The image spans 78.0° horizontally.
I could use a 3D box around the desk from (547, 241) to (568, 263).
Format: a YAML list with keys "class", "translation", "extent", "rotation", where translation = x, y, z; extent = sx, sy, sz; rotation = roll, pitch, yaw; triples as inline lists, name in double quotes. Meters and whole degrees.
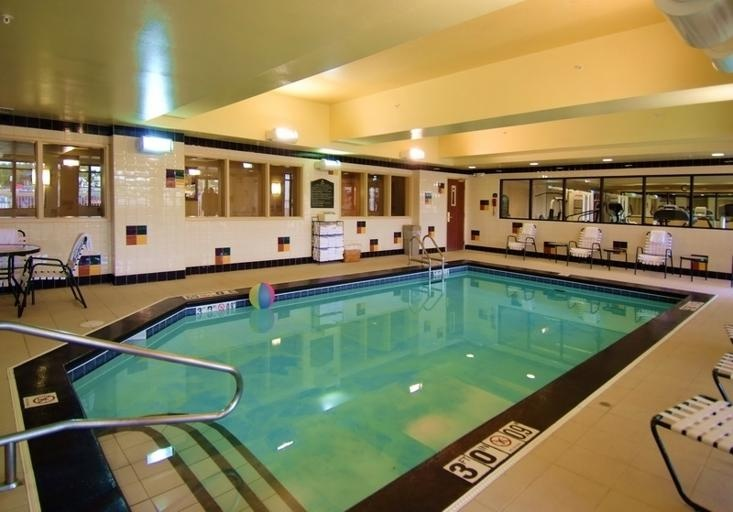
- class: "desk"
  translation: [5.270, -0.162, 12.658]
  extent: [0.789, 0.466, 0.544]
  rotation: [11, 14, 42]

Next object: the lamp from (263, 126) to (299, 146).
- class: "lamp"
  translation: [-1.656, -2.378, 8.860]
  extent: [0.521, 0.322, 0.532]
  rotation: [-3, 11, -23]

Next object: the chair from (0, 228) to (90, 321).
- class: "chair"
  translation: [-5.038, 0.141, 7.066]
  extent: [1.084, 1.110, 2.013]
  rotation: [-7, 13, -37]

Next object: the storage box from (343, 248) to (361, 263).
- class: "storage box"
  translation: [-0.338, -0.020, 11.329]
  extent: [0.577, 0.370, 0.307]
  rotation: [-3, 6, -38]

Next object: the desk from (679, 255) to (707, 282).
- class: "desk"
  translation: [7.482, 0.224, 10.358]
  extent: [0.585, 0.533, 0.870]
  rotation: [9, 13, 35]

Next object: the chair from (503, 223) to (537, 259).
- class: "chair"
  translation: [4.554, -0.534, 13.117]
  extent: [1.102, 1.225, 0.846]
  rotation: [-8, 8, -43]

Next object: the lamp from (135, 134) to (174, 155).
- class: "lamp"
  translation: [-3.838, -2.014, 8.220]
  extent: [0.429, 0.098, 0.397]
  rotation: [-5, 0, -42]

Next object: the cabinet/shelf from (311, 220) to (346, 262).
- class: "cabinet/shelf"
  translation: [-0.947, -0.375, 10.842]
  extent: [0.997, 1.206, 0.448]
  rotation: [-4, 5, -39]

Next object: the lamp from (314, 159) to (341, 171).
- class: "lamp"
  translation: [-0.950, -2.149, 10.628]
  extent: [0.367, 0.178, 0.335]
  rotation: [-4, 16, -35]

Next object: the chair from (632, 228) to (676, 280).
- class: "chair"
  translation: [6.822, -0.091, 10.701]
  extent: [0.790, 1.002, 1.352]
  rotation: [8, 13, 33]
